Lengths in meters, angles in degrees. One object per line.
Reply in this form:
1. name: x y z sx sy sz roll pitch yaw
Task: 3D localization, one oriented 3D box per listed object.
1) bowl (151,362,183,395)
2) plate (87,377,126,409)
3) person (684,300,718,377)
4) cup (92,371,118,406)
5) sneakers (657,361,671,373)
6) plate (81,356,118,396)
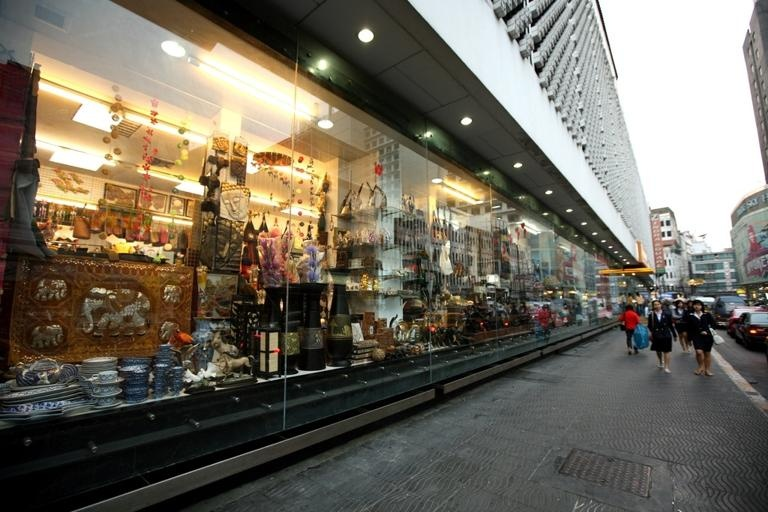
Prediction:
1. bowl: -2.427 1.342 5.123 0.335 0.347 0.321 -1 1 0
2. plate: -2.933 1.438 4.787 0.283 0.204 0.280 -1 0 -4
3. person: 6.982 1.777 10.043 0.522 1.568 0.844 -1 -1 33
4. cup: -2.919 1.373 4.820 0.308 0.287 0.304 2 4 0
5. sneakers: 6.336 2.518 10.418 0.224 0.287 0.672 -9 -11 22
6. plate: -3.051 1.247 4.858 0.333 0.240 0.342 1 0 41
